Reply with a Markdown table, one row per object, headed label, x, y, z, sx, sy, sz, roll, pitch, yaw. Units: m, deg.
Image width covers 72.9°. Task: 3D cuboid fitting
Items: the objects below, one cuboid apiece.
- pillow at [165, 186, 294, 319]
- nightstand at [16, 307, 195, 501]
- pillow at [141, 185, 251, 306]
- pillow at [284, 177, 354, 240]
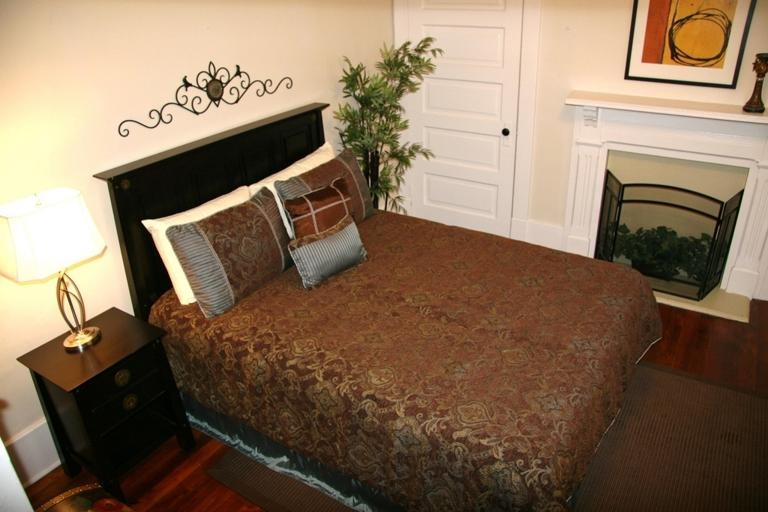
| label | x | y | z | sx | sy | sz | roll | pitch | yaw |
| --- | --- | --- | --- | --- | --- | --- | --- | --- | --- |
| pillow | -1.032 | 0.009 | 3.418 | 0.256 | 0.543 | 0.711 | 10 | 35 | 41 |
| nightstand | -1.693 | 0.918 | 3.273 | 0.593 | 0.884 | 0.728 | 21 | 36 | 38 |
| pillow | -1.264 | -0.028 | 3.395 | 0.203 | 0.678 | 0.694 | -13 | 13 | 46 |
| pillow | -0.512 | -0.289 | 3.782 | 0.551 | 0.382 | 0.160 | -23 | 1 | -45 |
